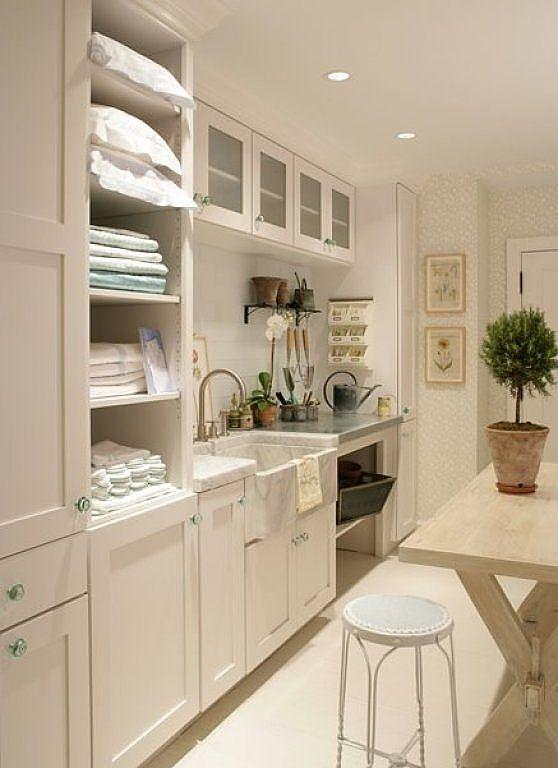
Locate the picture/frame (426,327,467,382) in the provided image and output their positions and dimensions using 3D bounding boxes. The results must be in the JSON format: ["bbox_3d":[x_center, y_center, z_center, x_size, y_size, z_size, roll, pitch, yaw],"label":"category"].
[{"bbox_3d":[1.175,-0.209,4.064,0.275,0.432,0.024,0,29,16],"label":"picture/frame"}]

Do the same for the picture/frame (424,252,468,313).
[{"bbox_3d":[1.182,-0.708,4.030,0.365,0.604,0.057,0,0,18],"label":"picture/frame"}]

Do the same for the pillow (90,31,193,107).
[{"bbox_3d":[-0.351,-0.787,1.448,0.201,0.052,0.214,43,20,9],"label":"pillow"}]

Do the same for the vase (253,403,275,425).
[{"bbox_3d":[-0.080,0.164,3.074,0.101,0.094,0.102,-4,-3,27],"label":"vase"}]

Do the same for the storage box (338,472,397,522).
[{"bbox_3d":[0.479,0.629,3.148,0.272,0.189,0.273,0,-5,-40],"label":"storage box"}]

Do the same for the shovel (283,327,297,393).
[{"bbox_3d":[0.061,-0.128,3.444,0.077,0.375,0.036,-4,6,-44],"label":"shovel"}]

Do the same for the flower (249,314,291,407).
[{"bbox_3d":[-0.032,-0.138,3.235,0.175,0.531,0.614,1,4,16],"label":"flower"}]

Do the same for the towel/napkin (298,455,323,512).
[{"bbox_3d":[0.126,0.416,2.376,0.056,0.207,0.188,-3,3,30],"label":"towel/napkin"}]

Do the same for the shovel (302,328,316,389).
[{"bbox_3d":[0.188,-0.147,3.635,0.095,0.380,0.047,1,13,17],"label":"shovel"}]
